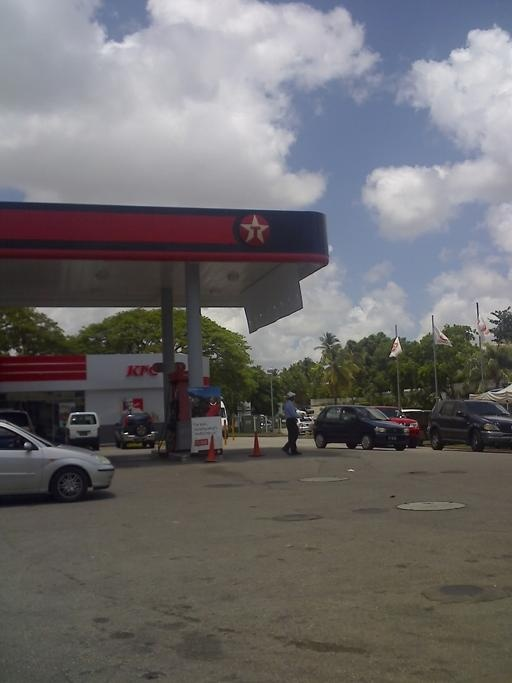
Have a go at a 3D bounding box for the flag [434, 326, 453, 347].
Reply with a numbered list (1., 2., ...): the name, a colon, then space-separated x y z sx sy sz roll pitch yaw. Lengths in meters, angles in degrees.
1. flag: 15.578 -0.382 47.738 1.029 1.486 3.292 -2 -6 18

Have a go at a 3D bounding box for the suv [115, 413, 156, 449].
1. suv: -6.917 5.322 33.393 1.441 1.561 2.927 1 -1 -12

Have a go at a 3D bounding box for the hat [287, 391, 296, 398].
1. hat: 1.172 1.796 18.887 0.254 0.079 0.254 -2 3 -33
